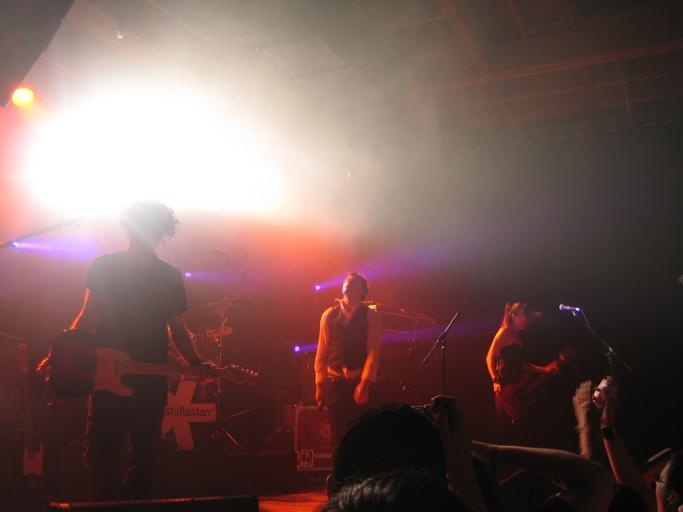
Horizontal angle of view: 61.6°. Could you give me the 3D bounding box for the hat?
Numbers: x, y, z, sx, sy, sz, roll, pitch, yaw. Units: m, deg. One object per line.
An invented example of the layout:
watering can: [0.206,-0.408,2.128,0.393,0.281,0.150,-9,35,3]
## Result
hat: [0.246,1.043,3.173,0.508,0.510,0.397,11,-23,-17]
